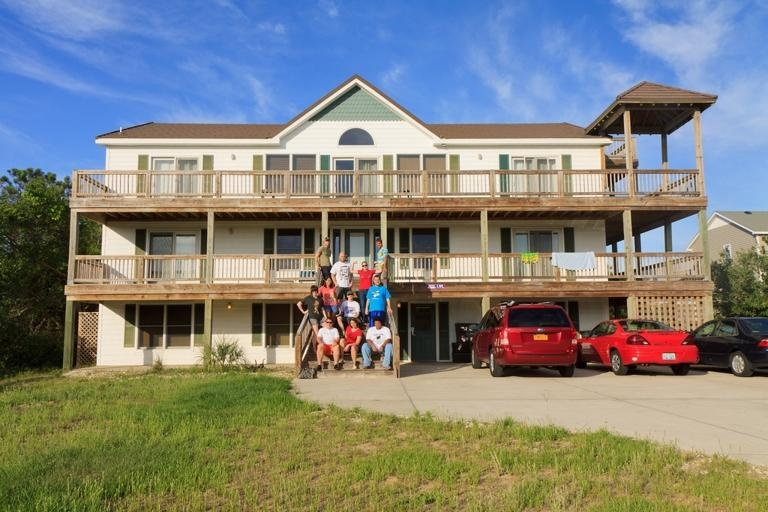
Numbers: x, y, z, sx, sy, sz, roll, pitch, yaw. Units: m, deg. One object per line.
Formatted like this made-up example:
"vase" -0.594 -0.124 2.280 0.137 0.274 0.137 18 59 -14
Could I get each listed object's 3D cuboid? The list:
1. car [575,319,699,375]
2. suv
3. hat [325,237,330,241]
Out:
"car" 8.035 3.015 23.625 1.759 1.785 3.508 -12 17 -35
"suv" 4.176 2.576 22.992 1.952 2.376 3.250 -13 18 -38
"hat" -2.077 -0.651 27.038 0.192 0.088 0.277 2 -3 -1
